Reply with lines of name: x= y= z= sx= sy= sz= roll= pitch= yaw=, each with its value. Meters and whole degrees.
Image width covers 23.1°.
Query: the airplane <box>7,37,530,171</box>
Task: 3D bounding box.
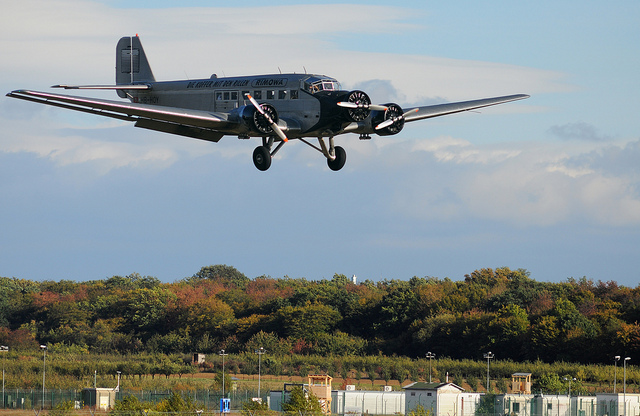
airplane: x=-4.903 y=-14.203 z=207.557 sx=62.484 sy=17.981 sz=54.492 roll=0 pitch=1 yaw=-2
